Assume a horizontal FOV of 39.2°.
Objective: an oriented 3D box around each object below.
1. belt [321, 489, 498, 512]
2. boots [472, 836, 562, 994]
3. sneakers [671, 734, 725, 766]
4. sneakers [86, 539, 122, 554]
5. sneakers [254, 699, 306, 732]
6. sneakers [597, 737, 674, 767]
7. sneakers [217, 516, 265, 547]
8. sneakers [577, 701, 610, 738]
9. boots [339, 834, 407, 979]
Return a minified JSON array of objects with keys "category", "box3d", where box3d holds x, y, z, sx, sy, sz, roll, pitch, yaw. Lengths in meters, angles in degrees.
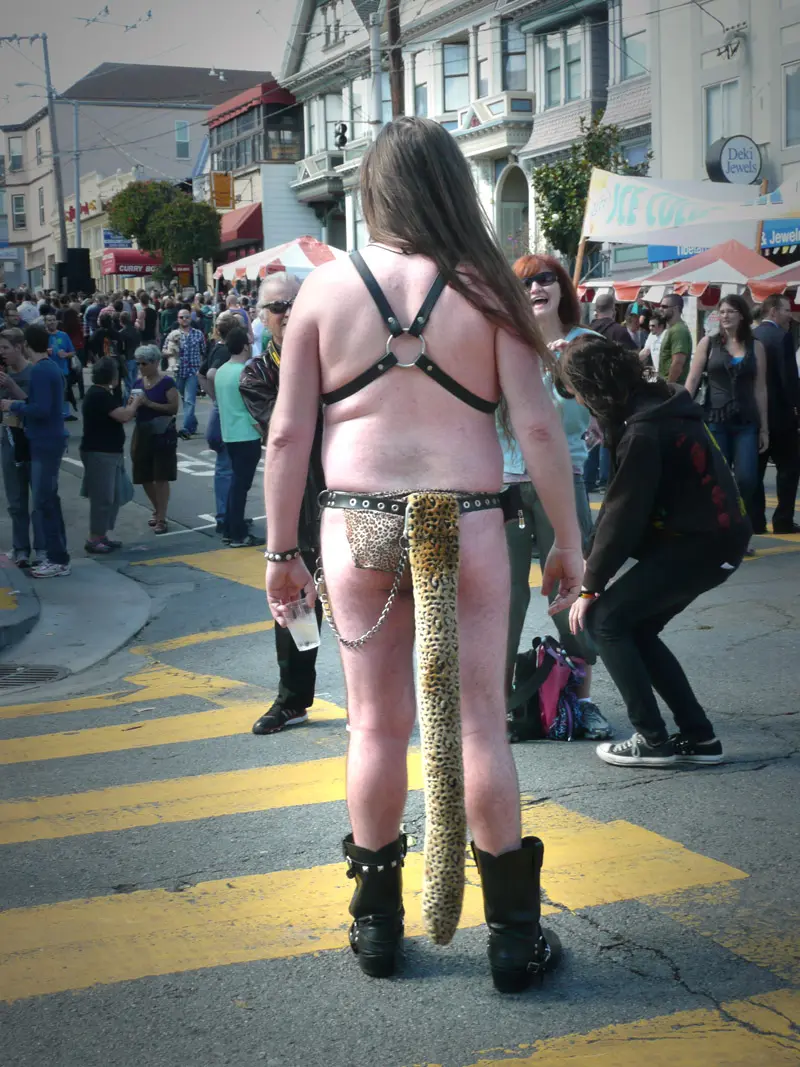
[{"category":"belt","box3d":[0.020,-0.066,2.365,0.392,0.057,0.188,-2,4,3]},{"category":"boots","box3d":[0.270,0.833,2.490,0.194,0.319,0.142,-4,4,-7]},{"category":"sneakers","box3d":[1.103,0.813,4.221,0.242,0.086,0.083,3,2,13]},{"category":"sneakers","box3d":[-2.805,0.128,10.550,0.336,0.106,0.139,-4,-39,-23]},{"category":"sneakers","box3d":[-0.532,0.821,5.017,0.270,0.103,0.093,-1,2,-39]},{"category":"sneakers","box3d":[0.882,0.824,4.232,0.277,0.101,0.108,2,3,30]},{"category":"sneakers","box3d":[-1.581,-0.005,11.008,0.265,0.119,0.387,-26,-8,36]},{"category":"sneakers","box3d":[0.798,0.778,4.619,0.086,0.086,0.210,-2,-11,0]},{"category":"boots","box3d":[-0.053,0.852,2.552,0.167,0.294,0.328,0,7,-1]}]
